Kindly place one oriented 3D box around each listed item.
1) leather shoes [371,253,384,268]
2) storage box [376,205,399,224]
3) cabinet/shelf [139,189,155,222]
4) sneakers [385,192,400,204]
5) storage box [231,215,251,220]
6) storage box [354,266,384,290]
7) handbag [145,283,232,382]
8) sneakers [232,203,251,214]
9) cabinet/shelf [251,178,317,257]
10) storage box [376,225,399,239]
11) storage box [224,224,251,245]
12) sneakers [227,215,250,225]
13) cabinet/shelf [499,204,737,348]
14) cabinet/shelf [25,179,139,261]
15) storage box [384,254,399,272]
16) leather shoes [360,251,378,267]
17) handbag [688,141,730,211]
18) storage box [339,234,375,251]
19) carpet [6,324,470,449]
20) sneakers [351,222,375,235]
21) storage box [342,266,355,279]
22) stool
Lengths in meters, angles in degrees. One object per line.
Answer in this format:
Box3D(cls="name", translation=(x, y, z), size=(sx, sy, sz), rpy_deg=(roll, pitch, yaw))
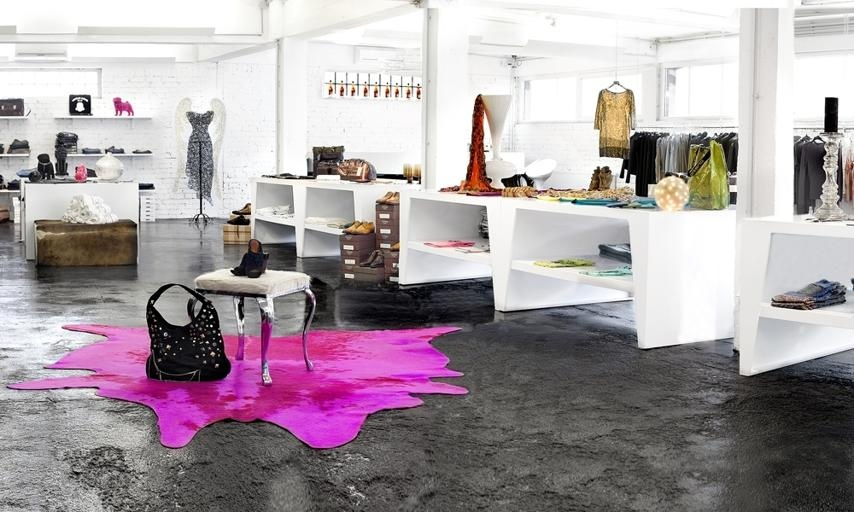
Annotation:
Box3D(cls="leather shoes", translation=(-0.619, 0.039, 7.073), size=(0.161, 0.180, 0.125), rpy_deg=(0, 8, -10))
Box3D(cls="storage box", translation=(-0.508, -0.533, 7.074), size=(0.272, 0.182, 0.278), rpy_deg=(3, 4, 40))
Box3D(cls="cabinet/shelf", translation=(-6.678, -1.224, 13.336), size=(0.340, 0.722, 0.759), rpy_deg=(-2, 8, -25))
Box3D(cls="sneakers", translation=(-0.441, -0.755, 7.150), size=(0.181, 0.149, 0.338), rpy_deg=(1, 7, -5))
Box3D(cls="storage box", translation=(-3.365, -0.711, 10.087), size=(0.309, 0.095, 0.106), rpy_deg=(5, 4, 5))
Box3D(cls="storage box", translation=(-0.706, 0.245, 6.872), size=(0.429, 0.194, 0.464), rpy_deg=(1, 7, 1))
Box3D(cls="handbag", translation=(-1.749, 0.577, 4.095), size=(0.798, 0.776, 0.428), rpy_deg=(0, 5, 4))
Box3D(cls="sneakers", translation=(-3.475, -0.887, 10.454), size=(0.310, 0.177, 0.670), rpy_deg=(-1, 7, -17))
Box3D(cls="cabinet/shelf", translation=(-2.317, -0.663, 9.018), size=(0.894, 0.993, 1.565), rpy_deg=(0, 3, -34))
Box3D(cls="storage box", translation=(-0.499, -0.308, 7.115), size=(0.319, 0.181, 0.074), rpy_deg=(5, 8, 28))
Box3D(cls="storage box", translation=(-3.356, -0.391, 9.842), size=(0.443, 0.227, 0.408), rpy_deg=(-2, 6, -26))
Box3D(cls="sneakers", translation=(-3.391, -0.653, 10.055), size=(0.313, 0.100, 0.171), rpy_deg=(2, 0, -13))
Box3D(cls="cabinet/shelf", translation=(1.744, 0.081, 5.199), size=(1.196, 1.181, 1.678), rpy_deg=(-3, 8, -32))
Box3D(cls="cabinet/shelf", translation=(-5.253, -0.618, 8.273), size=(1.543, 0.806, 1.514), rpy_deg=(-2, 3, -40))
Box3D(cls="storage box", translation=(-0.422, 0.070, 6.975), size=(0.211, 0.250, 0.080), rpy_deg=(5, 8, 24))
Box3D(cls="leather shoes", translation=(-0.713, 0.036, 7.084), size=(0.114, 0.120, 0.325), rpy_deg=(5, 12, 33))
Box3D(cls="handbag", translation=(2.451, -0.706, 4.781), size=(0.334, 0.601, 0.295), rpy_deg=(5, 8, 23))
Box3D(cls="storage box", translation=(-0.888, -0.197, 7.262), size=(0.298, 0.155, 0.280), rpy_deg=(-2, 4, -35))
Box3D(cls="carpet", translation=(-1.186, 0.841, 3.909), size=(2.888, 0.131, 1.979), rpy_deg=(1, 7, -3))
Box3D(cls="sneakers", translation=(-0.818, -0.365, 7.322), size=(0.154, 0.087, 0.257), rpy_deg=(-2, -4, 28))
Box3D(cls="storage box", translation=(-1.007, 0.209, 7.173), size=(0.157, 0.156, 0.252), rpy_deg=(0, 3, -29))
Box3D(cls="stool", translation=(-1.297, 0.488, 4.090), size=(0.904, 0.637, 0.787), rpy_deg=(0, -1, 6))
